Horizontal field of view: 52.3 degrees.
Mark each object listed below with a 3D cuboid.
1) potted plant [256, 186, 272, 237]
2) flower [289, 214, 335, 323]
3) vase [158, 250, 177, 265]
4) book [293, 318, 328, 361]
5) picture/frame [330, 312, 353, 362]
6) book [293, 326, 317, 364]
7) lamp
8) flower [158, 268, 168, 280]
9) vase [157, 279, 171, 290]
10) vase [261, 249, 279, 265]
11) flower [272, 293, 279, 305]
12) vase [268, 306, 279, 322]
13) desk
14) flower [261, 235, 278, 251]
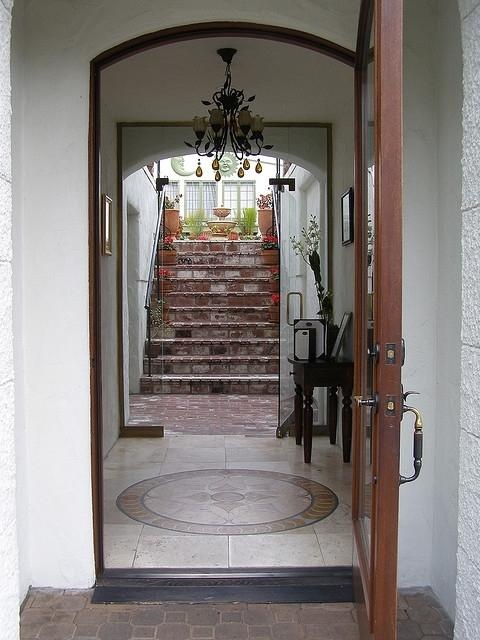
[{"bbox_3d":[0.500,-2.129,9.992,0.263,1.049,0.363,-3,5,-13],"label":"potted plant"},{"bbox_3d":[0.704,-0.475,4.393,0.353,0.970,0.564,0,5,-15],"label":"flower"},{"bbox_3d":[-1.283,-1.113,8.668,0.207,0.285,0.436,6,7,42],"label":"vase"},{"bbox_3d":[0.526,0.206,3.879,0.155,0.283,0.219,-1,2,-33],"label":"book"},{"bbox_3d":[0.817,0.144,3.922,0.029,0.401,0.298,16,-8,1],"label":"picture/frame"},{"bbox_3d":[0.508,0.208,3.806,0.164,0.450,0.200,0,0,7],"label":"book"},{"bbox_3d":[-0.099,-1.756,4.028,0.462,1.086,0.629,-1,-2,-24],"label":"lamp"},{"bbox_3d":[-1.290,-0.791,8.266,0.155,0.177,0.156,1,34,-46],"label":"flower"},{"bbox_3d":[-1.269,-0.656,8.238,0.162,0.229,0.139,2,-13,-8],"label":"vase"},{"bbox_3d":[0.509,-1.071,8.252,0.272,0.294,0.289,0,-2,-3],"label":"vase"},{"bbox_3d":[0.564,-0.337,7.776,0.057,0.192,0.304,0,6,-7],"label":"flower"},{"bbox_3d":[0.510,-0.097,7.774,0.179,0.257,0.194,-1,-2,36],"label":"vase"},{"bbox_3d":[0.610,0.807,3.971,0.451,1.090,0.964,0,-3,2],"label":"desk"},{"bbox_3d":[0.499,-1.310,8.305,0.248,0.257,0.413,2,5,2],"label":"flower"}]
